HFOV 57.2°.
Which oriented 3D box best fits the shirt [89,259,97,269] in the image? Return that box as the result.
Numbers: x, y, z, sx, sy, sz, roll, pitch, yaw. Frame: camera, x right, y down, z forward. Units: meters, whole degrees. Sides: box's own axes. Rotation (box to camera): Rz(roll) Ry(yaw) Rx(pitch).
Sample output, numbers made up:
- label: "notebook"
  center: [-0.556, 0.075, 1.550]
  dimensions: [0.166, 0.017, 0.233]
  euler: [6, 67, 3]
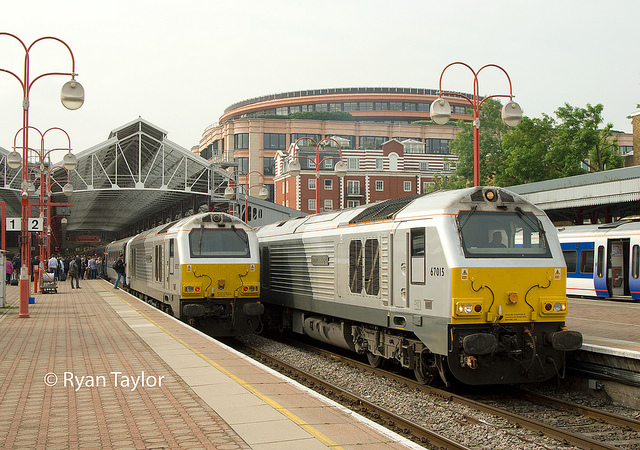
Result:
- label: "shirt"
  center: [-19.178, 3.235, 49.545]
  dimensions: [0.792, 0.970, 0.513]
  euler: [5, -15, -35]

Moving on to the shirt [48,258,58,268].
- label: "shirt"
  center: [-17.781, 2.473, 39.063]
  dimensions: [0.664, 0.774, 0.398]
  euler: [3, -12, -32]

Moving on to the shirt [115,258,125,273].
- label: "shirt"
  center: [-10.905, 2.219, 32.088]
  dimensions: [0.465, 0.717, 0.654]
  euler: [-5, -8, 41]

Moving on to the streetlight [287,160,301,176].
- label: "streetlight"
  center: [-1.465, -3.223, 32.239]
  dimensions: [0.515, 1.012, 1.255]
  euler: [7, -7, 4]

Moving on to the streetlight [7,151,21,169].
- label: "streetlight"
  center: [-15.322, -3.398, 29.465]
  dimensions: [0.630, 0.726, 1.714]
  euler: [12, -8, -29]

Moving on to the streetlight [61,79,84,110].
- label: "streetlight"
  center: [-8.335, -4.471, 19.756]
  dimensions: [0.754, 1.152, 0.174]
  euler: [-3, 40, -29]

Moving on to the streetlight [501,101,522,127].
- label: "streetlight"
  center: [6.338, -3.843, 19.527]
  dimensions: [0.591, 0.782, 1.433]
  euler: [6, -7, 15]

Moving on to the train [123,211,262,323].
- label: "train"
  center: [-5.188, 1.530, 22.964]
  dimensions: [2.356, 3.352, 10.475]
  euler: [0, -2, -22]

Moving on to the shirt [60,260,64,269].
- label: "shirt"
  center: [-22.299, 3.348, 50.781]
  dimensions: [0.180, 0.529, 0.715]
  euler: [9, -7, -9]

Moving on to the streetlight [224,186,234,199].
- label: "streetlight"
  center: [-6.404, -2.148, 41.306]
  dimensions: [0.586, 0.483, 0.875]
  euler: [0, -45, -2]

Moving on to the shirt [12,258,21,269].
- label: "shirt"
  center: [-19.205, 2.376, 37.214]
  dimensions: [0.380, 0.561, 0.837]
  euler: [10, -7, -14]

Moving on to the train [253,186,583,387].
- label: "train"
  center: [1.198, 1.794, 19.377]
  dimensions: [3.010, 4.234, 16.518]
  euler: [4, -6, -19]
